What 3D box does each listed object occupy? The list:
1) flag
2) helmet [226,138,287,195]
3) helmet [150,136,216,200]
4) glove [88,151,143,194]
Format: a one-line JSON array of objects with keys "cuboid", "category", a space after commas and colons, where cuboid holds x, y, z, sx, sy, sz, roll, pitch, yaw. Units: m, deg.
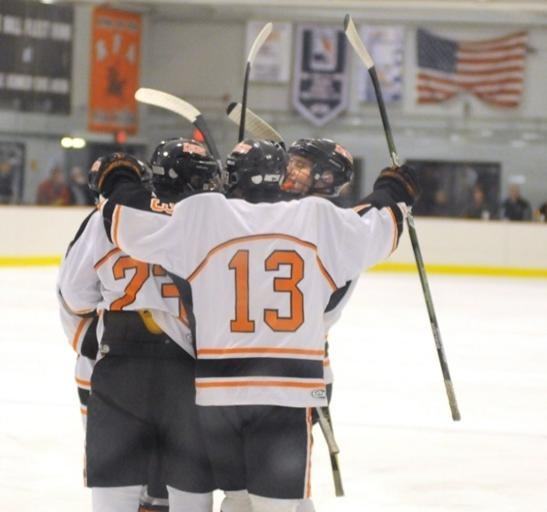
[{"cuboid": [2.667, -2.483, 16.292, 0.083, 0.999, 1.598, -8, 13, -41], "category": "flag"}, {"cuboid": [-0.007, -0.482, 7.341, 0.392, 0.347, 0.332, 7, -3, 35], "category": "helmet"}, {"cuboid": [-0.495, -0.476, 7.427, 0.404, 0.337, 0.324, -2, -14, 0], "category": "helmet"}, {"cuboid": [-0.926, -0.510, 7.222, 0.271, 0.120, 0.356, -4, -18, 9], "category": "glove"}]
